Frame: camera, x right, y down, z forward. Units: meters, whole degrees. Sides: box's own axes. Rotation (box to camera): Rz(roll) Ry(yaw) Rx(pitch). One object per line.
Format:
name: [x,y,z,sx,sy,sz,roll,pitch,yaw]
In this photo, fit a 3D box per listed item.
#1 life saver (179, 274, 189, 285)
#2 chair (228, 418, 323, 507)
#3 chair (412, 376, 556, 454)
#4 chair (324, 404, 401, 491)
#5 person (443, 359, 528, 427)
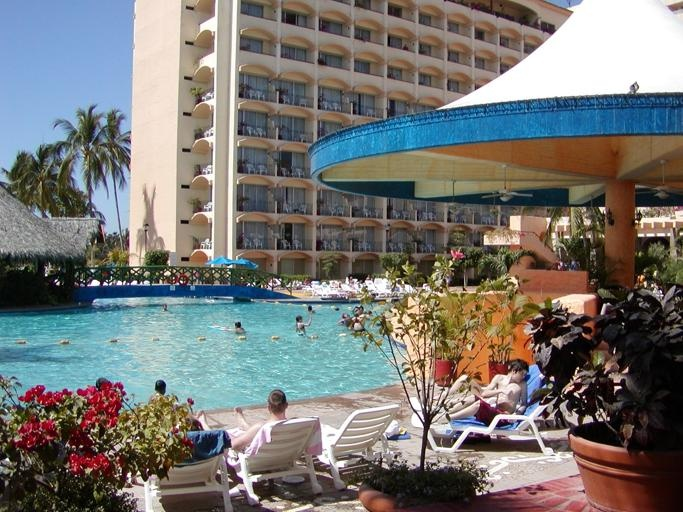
life saver: [-9.258,1.455,35.021,0.561,0.678,0.311,0,-4,-24]
chair: [-0.639,2.188,6.581,0.600,0.576,1.174,-1,-3,-22]
chair: [1.960,2.263,8.357,1.928,0.956,1.048,2,-6,-1]
chair: [0.224,2.210,7.016,0.576,0.490,1.105,-1,1,-28]
person: [2.175,2.088,8.667,1.280,0.799,0.799,-4,6,-19]
